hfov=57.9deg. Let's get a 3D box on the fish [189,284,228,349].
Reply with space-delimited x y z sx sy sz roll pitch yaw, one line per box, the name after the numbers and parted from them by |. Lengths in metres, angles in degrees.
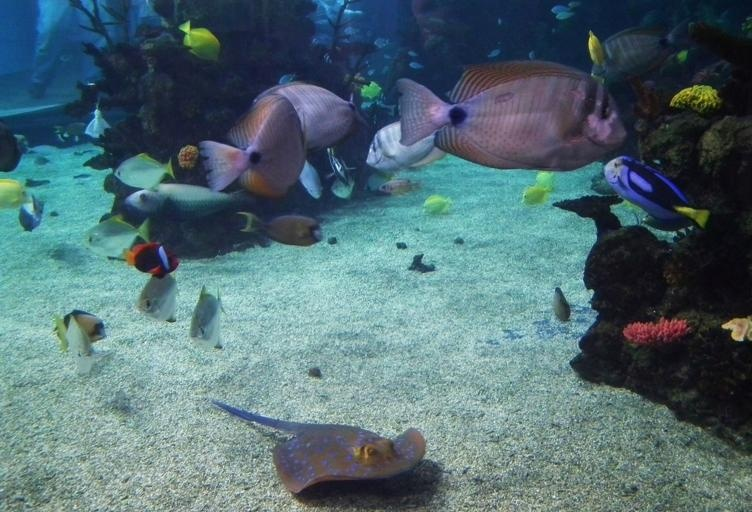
-2.341 0.872 9.459 0.258 1.025 0.556 9 34 24 | fish
